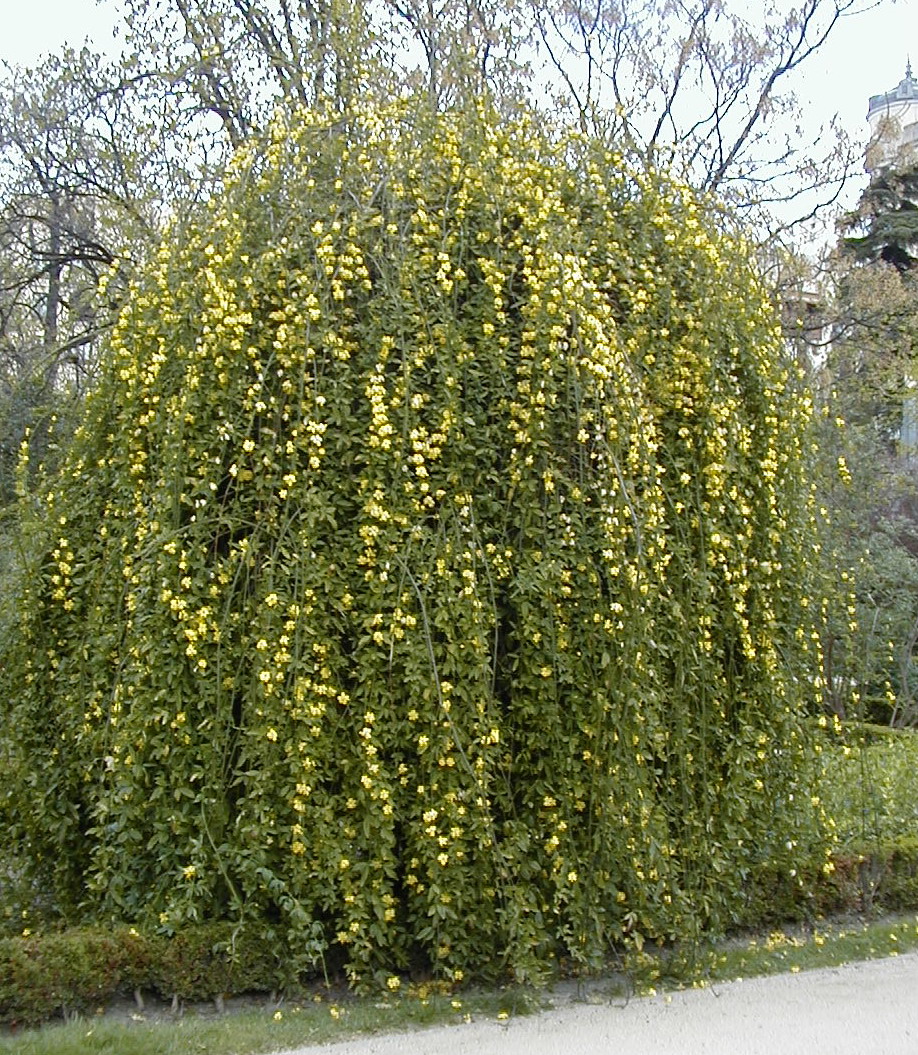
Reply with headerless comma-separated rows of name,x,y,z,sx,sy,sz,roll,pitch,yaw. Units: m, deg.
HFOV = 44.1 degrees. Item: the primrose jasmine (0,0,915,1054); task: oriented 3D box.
primrose jasmine,-0.116,-0.100,5.302,3.169,3.851,1.379,-2,-5,-9
